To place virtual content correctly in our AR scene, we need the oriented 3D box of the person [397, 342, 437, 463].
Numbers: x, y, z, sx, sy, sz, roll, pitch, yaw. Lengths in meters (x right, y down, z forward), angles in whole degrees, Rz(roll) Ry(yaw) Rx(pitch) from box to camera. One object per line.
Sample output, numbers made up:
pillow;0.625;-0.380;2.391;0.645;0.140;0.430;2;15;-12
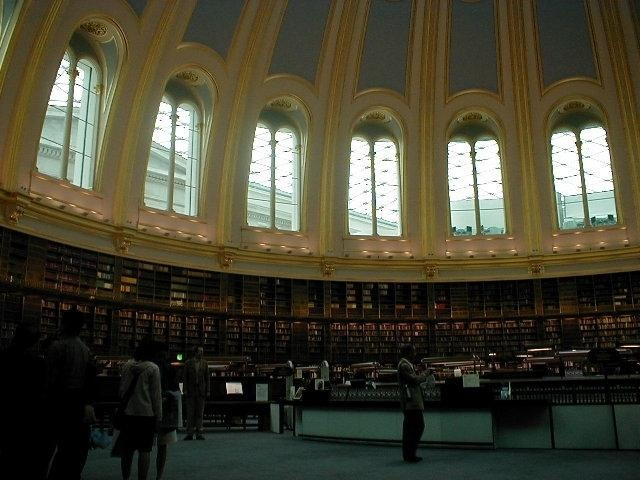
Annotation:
person;1.279;2.190;8.020;0.389;1.442;1.100;-4;-16;9
